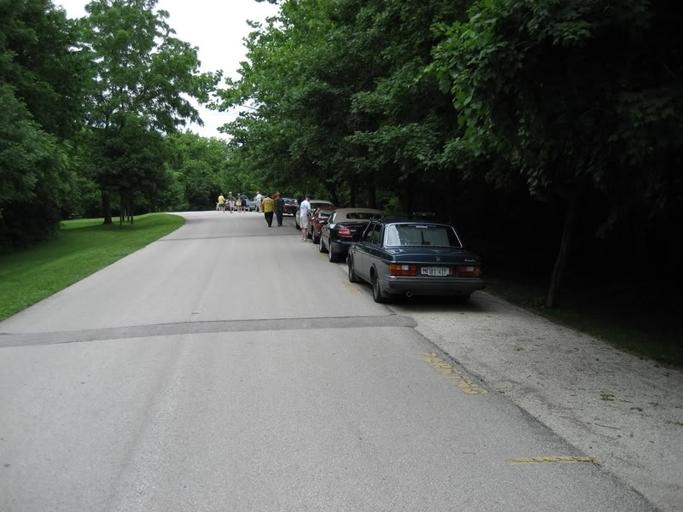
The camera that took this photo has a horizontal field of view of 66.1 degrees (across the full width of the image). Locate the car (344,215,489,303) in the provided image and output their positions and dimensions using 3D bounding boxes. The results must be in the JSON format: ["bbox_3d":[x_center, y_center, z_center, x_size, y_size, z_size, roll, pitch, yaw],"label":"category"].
[{"bbox_3d":[1.358,-0.014,12.114,1.405,1.102,3.121,1,8,-10],"label":"car"}]
